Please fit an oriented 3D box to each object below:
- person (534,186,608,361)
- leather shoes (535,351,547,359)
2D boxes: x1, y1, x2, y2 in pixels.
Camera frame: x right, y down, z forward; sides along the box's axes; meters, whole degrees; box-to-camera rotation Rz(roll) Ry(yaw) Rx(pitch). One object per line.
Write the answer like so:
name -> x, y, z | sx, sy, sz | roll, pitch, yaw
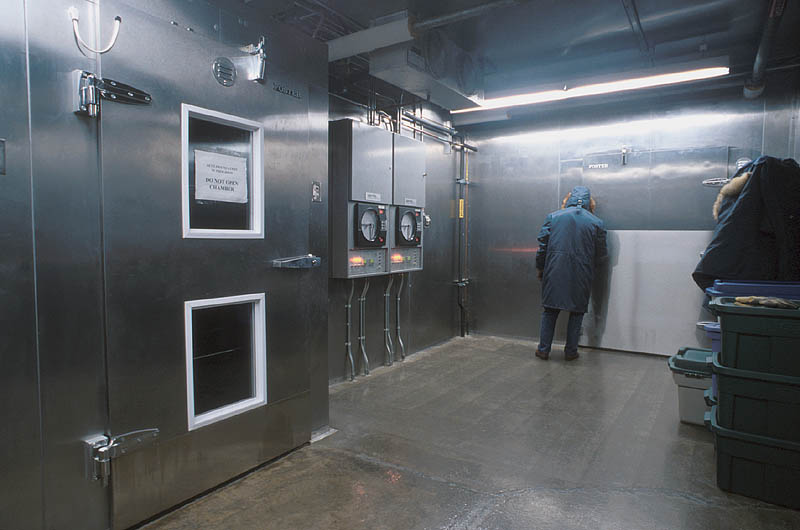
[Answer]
person -> 2.070, 0.083, 6.489 | 1.044, 2.035, 0.636 | -9, 14, -39
leather shoes -> 1.723, 1.087, 6.358 | 0.148, 0.109, 0.119 | 3, 11, 14
